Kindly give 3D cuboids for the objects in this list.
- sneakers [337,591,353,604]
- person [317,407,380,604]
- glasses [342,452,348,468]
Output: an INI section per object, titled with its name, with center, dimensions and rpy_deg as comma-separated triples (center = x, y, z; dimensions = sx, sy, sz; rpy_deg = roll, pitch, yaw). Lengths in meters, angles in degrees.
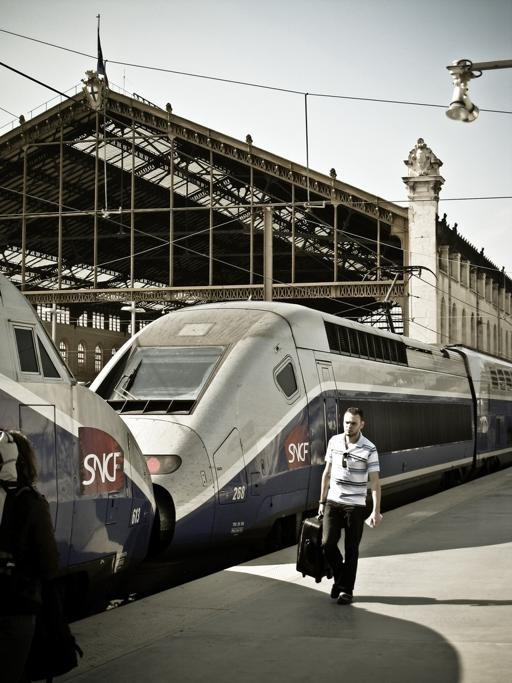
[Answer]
[sneakers]
center = 0.666, 1.936, 6.419
dimensions = 0.114, 0.080, 0.104
rpy_deg = 0, 0, 0
[person]
center = 0.747, 1.270, 6.726
dimensions = 0.452, 1.489, 0.696
rpy_deg = 0, 0, -4
[glasses]
center = 0.692, 0.930, 6.664
dimensions = 0.023, 0.094, 0.055
rpy_deg = 4, 0, -41
